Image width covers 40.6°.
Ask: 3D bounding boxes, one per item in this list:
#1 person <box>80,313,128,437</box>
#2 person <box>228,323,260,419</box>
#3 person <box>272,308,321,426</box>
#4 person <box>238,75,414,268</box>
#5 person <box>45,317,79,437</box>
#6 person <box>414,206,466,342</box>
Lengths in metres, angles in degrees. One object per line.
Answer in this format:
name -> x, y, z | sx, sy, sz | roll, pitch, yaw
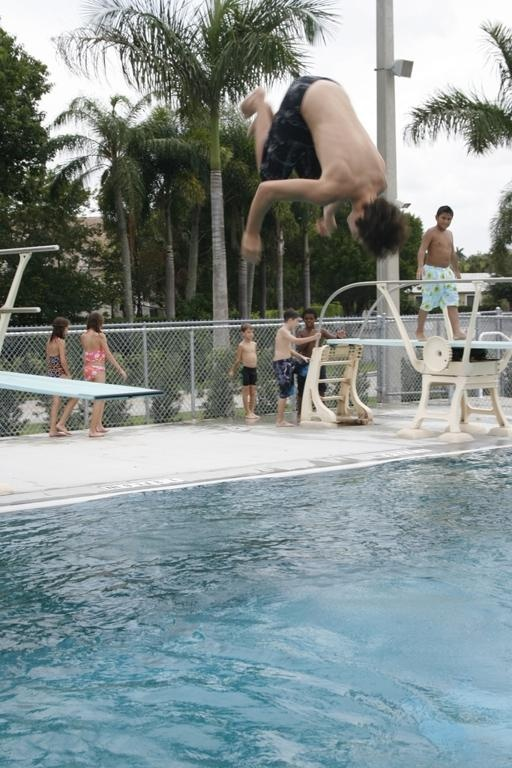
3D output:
person -> -2.475, -0.167, 11.125 | 0.677, 1.966, 1.565 | 0, 5, -12
person -> -0.209, -0.195, 12.537 | 0.480, 1.764, 1.181 | 1, 5, 0
person -> 0.649, -0.307, 12.144 | 0.662, 1.975, 1.311 | 1, 5, 3
person -> 0.455, -1.464, 4.667 | 1.082, 1.329, 0.633 | 1, 5, 1
person -> -3.127, -0.095, 11.032 | 0.445, 1.911, 1.487 | -1, 5, -17
person -> 2.783, -1.629, 10.451 | 0.690, 1.952, 1.476 | 2, 5, 16
